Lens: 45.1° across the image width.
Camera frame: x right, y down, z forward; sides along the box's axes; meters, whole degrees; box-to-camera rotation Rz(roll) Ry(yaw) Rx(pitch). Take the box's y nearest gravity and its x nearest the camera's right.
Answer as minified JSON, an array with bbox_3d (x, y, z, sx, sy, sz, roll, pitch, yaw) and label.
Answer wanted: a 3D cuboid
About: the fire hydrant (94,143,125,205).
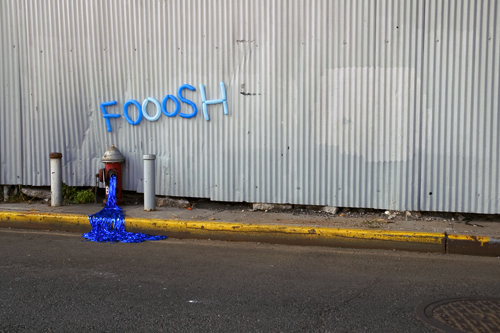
[{"bbox_3d":[-3.305,0.219,14.412,0.686,1.408,0.443,1,-1,-24],"label":"fire hydrant"}]
